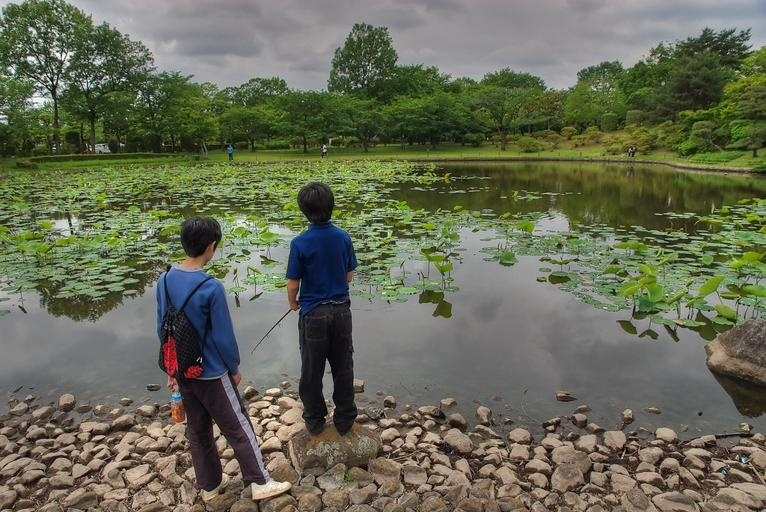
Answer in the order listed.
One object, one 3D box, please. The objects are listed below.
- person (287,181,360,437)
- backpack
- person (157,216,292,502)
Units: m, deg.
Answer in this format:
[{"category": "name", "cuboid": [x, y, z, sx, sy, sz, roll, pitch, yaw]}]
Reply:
[{"category": "person", "cuboid": [-0.591, 0.548, 5.324, 0.673, 2.471, 0.650, -3, 19, -3]}, {"category": "backpack", "cuboid": [-1.881, 0.674, 5.076, 0.528, 0.963, 0.468, 9, 10, 37]}, {"category": "person", "cuboid": [-1.720, 1.010, 5.312, 1.416, 2.483, 0.933, -1, 1, -44]}]
